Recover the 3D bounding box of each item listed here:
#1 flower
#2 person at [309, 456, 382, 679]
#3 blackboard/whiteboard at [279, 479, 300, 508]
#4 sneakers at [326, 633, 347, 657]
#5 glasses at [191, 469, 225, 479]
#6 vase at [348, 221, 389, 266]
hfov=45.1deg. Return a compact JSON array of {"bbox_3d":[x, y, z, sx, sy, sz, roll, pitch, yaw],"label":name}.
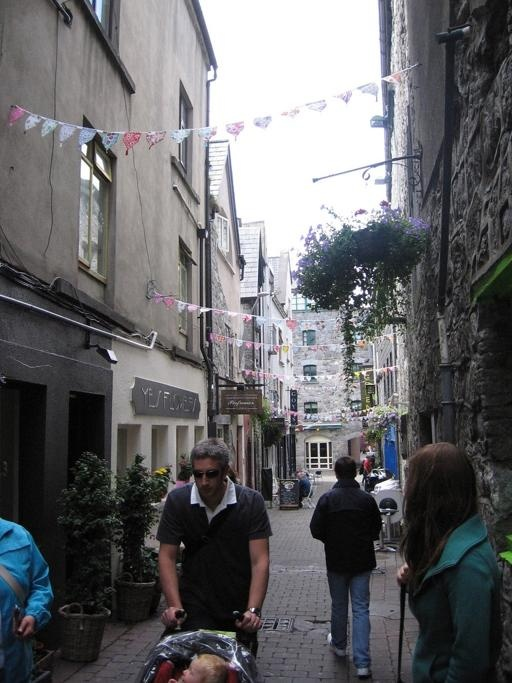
[{"bbox_3d":[1.039,-0.735,6.746,1.087,2.070,1.349,-13,14,-39],"label":"flower"},{"bbox_3d":[0.816,1.809,5.181,0.493,1.660,0.780,1,-9,-26],"label":"person"},{"bbox_3d":[1.128,5.141,20.929,0.664,1.277,0.759,0,-13,0],"label":"blackboard/whiteboard"},{"bbox_3d":[0.700,2.633,5.365,0.072,0.120,0.256,-1,9,-4],"label":"sneakers"},{"bbox_3d":[-0.215,0.607,2.839,0.142,0.055,0.108,-4,-10,-6],"label":"glasses"},{"bbox_3d":[1.191,-1.031,6.474,0.371,0.387,0.291,-5,-9,7],"label":"vase"}]
